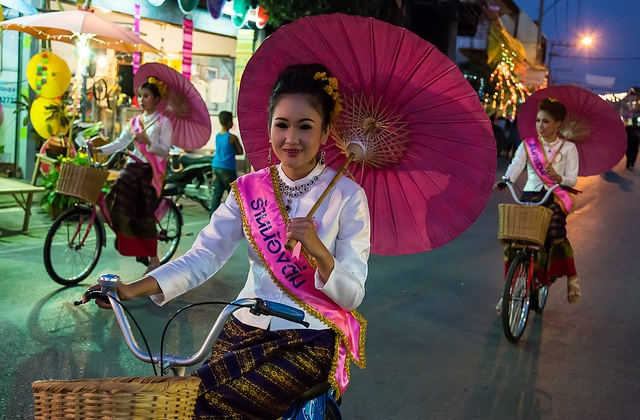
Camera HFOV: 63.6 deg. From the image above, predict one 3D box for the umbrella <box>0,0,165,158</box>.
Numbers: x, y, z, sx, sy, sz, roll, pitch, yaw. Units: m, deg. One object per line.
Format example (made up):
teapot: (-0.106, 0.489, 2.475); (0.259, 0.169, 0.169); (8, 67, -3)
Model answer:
umbrella: (-3.833, -1.957, 8.545); (2.176, 1.691, 2.260); (-7, 20, -38)

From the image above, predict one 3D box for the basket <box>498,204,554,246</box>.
basket: (2.363, 0.220, 6.089); (0.433, 0.369, 0.537); (8, -7, 21)

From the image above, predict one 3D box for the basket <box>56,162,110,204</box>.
basket: (-3.003, -0.385, 6.561); (0.460, 0.386, 0.539); (24, -8, -18)
